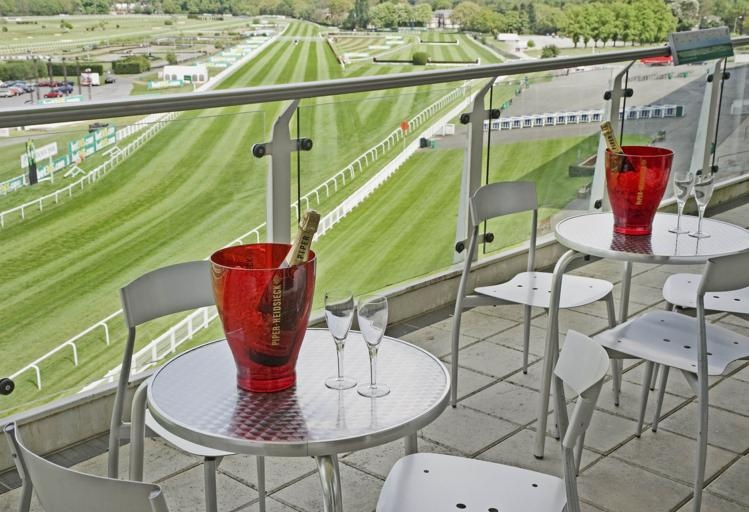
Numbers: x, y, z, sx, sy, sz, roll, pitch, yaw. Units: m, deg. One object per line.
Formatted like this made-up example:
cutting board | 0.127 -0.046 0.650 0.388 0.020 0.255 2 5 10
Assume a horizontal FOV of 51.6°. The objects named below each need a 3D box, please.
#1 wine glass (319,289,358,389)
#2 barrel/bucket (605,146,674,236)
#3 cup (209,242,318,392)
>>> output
wine glass | -0.107 0.217 2.268 0.093 0.261 0.244 -4 24 -3
barrel/bucket | 1.048 -0.251 3.125 0.244 0.349 0.115 5 25 15
cup | -0.302 0.159 2.316 0.365 0.445 0.388 1 12 0
